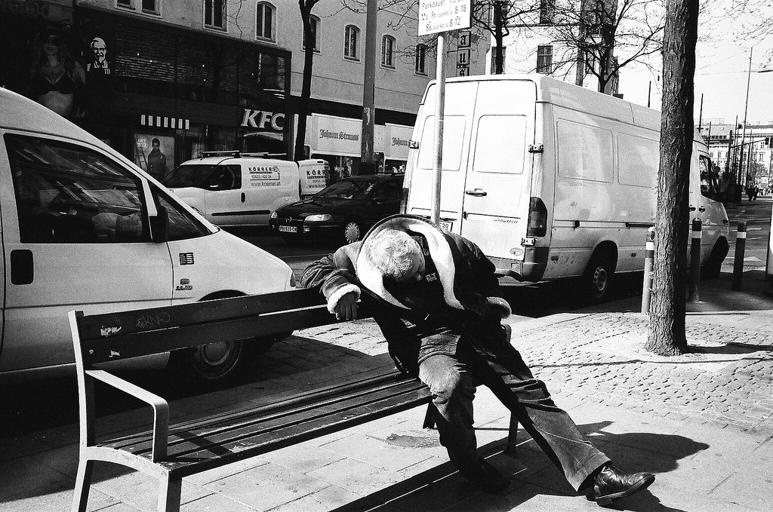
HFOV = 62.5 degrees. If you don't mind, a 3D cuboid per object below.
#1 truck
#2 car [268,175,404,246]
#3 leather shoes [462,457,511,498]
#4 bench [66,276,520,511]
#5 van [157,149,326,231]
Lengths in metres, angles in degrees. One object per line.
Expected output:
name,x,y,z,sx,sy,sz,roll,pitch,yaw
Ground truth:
truck,3.423,-1.388,12.372,6.224,3.089,3.005,-6,7,-38
car,-1.253,-1.263,17.065,3.762,1.276,1.696,-5,7,-43
leather shoes,0.725,1.583,4.629,0.406,0.178,0.198,10,28,24
bench,-0.916,0.936,4.244,2.102,1.228,0.981,-5,10,-37
van,-4.098,-1.849,18.989,4.270,1.678,2.157,-1,4,-38
